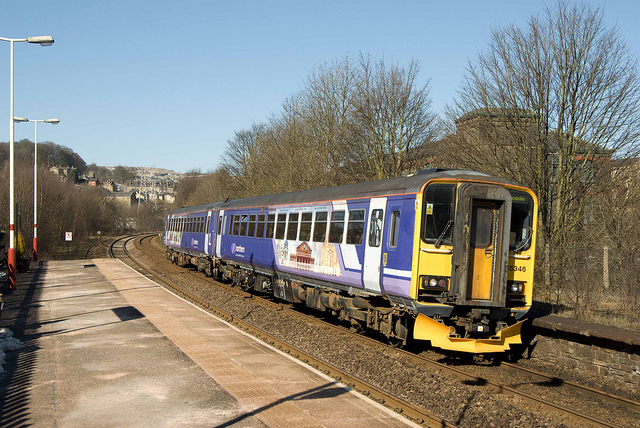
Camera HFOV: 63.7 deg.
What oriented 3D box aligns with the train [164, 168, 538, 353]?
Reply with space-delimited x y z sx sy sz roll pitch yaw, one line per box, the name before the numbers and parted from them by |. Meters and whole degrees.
train | -1.057 1.263 22.667 4.352 5.347 22.127 2 0 -26
